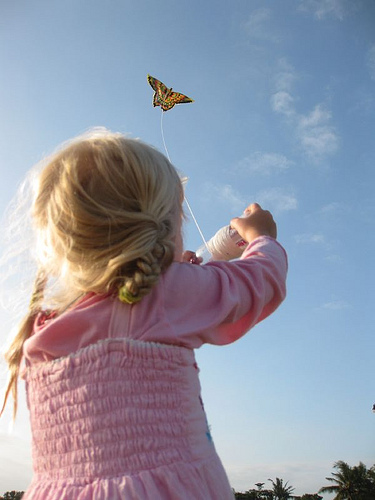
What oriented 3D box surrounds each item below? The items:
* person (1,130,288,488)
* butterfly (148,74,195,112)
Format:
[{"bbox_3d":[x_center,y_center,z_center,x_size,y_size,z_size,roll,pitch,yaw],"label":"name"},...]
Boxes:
[{"bbox_3d":[-0.215,0.219,2.181,1.094,1.350,0.552,-2,-17,15],"label":"person"},{"bbox_3d":[-0.162,-1.071,3.995,0.354,0.062,0.201,30,-47,-5],"label":"butterfly"}]
